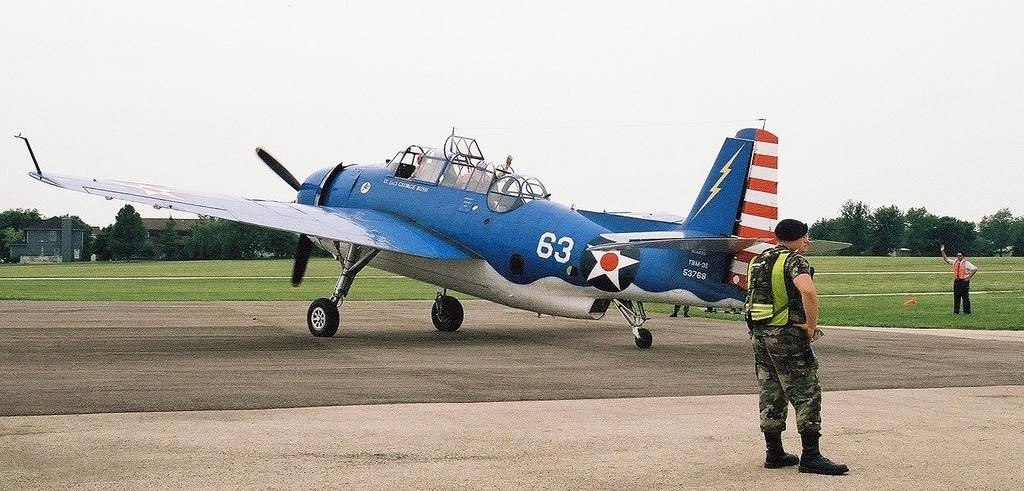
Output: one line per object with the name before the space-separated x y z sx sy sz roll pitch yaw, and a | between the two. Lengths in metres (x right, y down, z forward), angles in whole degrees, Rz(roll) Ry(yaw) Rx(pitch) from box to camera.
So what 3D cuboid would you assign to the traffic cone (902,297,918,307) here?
traffic cone | 19.481 2.834 42.710 0.811 0.273 0.659 6 8 27
